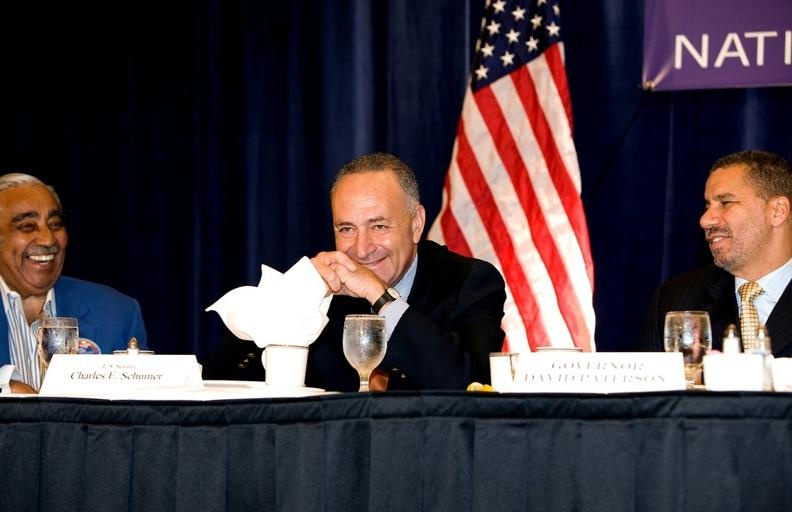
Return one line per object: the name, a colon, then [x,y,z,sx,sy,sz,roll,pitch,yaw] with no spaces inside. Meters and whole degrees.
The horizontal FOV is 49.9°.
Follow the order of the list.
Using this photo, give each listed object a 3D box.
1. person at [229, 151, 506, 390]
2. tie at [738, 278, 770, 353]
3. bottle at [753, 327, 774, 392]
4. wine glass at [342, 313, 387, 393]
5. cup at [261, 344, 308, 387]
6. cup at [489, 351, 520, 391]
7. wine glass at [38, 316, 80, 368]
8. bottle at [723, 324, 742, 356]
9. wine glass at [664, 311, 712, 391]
person: [-0.047,0.035,3.618,1.120,1.062,0.790,2,-10,-11]
tie: [1.503,0.256,3.577,0.067,0.363,0.059,-7,-55,22]
bottle: [1.212,0.329,2.804,0.057,0.229,0.361,-3,-11,23]
wine glass: [-0.100,0.316,2.884,0.136,0.265,0.157,-2,-10,13]
cup: [-0.380,0.378,2.912,0.143,0.113,0.121,-2,-5,12]
cup: [0.365,0.394,2.930,0.090,0.129,0.128,-2,-10,15]
wine glass: [-1.192,0.301,3.008,0.139,0.184,0.277,5,-11,-23]
bottle: [1.109,0.269,2.813,0.050,0.125,0.303,-3,-11,21]
wine glass: [0.976,0.298,2.838,0.124,0.227,0.098,5,-10,-24]
